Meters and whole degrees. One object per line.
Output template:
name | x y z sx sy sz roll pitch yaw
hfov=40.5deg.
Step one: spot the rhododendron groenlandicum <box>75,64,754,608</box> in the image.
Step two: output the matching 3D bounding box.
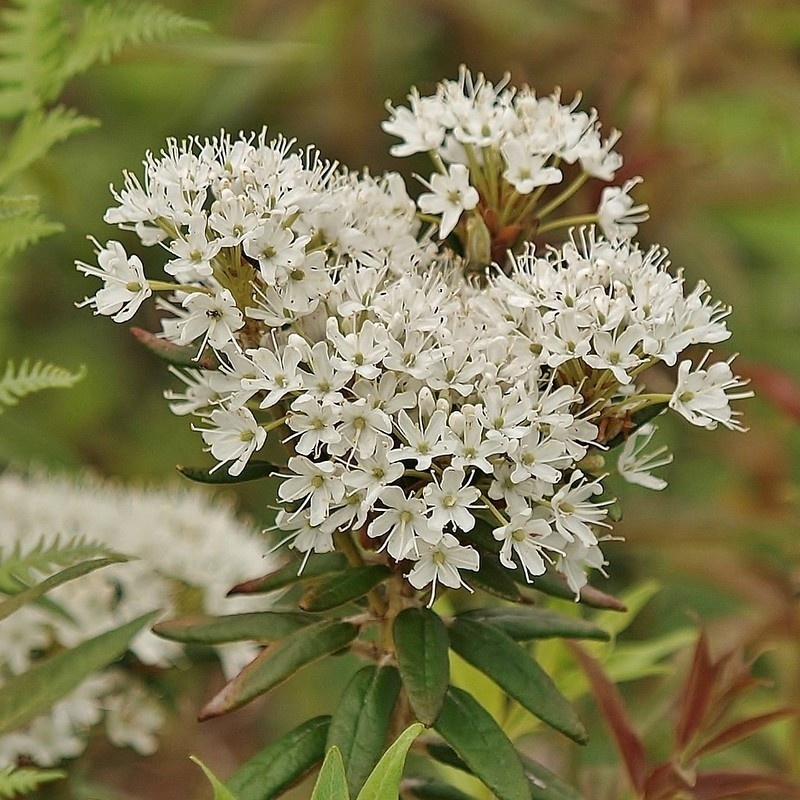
rhododendron groenlandicum | 0.005 -0.043 1.528 0.825 0.486 0.721 32 56 5
